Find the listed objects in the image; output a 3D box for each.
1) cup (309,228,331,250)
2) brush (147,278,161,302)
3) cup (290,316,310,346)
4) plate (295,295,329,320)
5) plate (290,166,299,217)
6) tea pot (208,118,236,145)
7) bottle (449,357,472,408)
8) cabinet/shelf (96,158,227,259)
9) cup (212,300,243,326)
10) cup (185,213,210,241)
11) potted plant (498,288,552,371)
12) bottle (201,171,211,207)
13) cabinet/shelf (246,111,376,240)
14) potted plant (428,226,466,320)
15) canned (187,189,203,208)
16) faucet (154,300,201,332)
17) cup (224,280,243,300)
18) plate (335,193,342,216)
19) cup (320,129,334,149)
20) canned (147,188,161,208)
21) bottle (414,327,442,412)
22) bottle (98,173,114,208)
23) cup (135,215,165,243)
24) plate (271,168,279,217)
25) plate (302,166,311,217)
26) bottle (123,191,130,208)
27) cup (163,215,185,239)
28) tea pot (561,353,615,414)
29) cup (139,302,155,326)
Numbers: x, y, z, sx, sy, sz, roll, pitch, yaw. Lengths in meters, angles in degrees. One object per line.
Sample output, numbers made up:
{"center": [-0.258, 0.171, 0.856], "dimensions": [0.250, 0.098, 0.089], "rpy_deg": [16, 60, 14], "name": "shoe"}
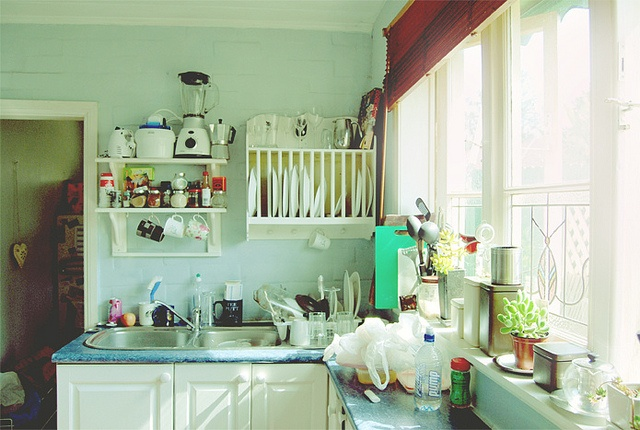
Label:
{"center": [-0.003, 0.176, 3.824], "dimensions": [0.135, 0.150, 0.121], "rpy_deg": [6, 2, -15], "name": "cup"}
{"center": [-1.125, 0.509, 3.694], "dimensions": [0.097, 0.150, 0.132], "rpy_deg": [-3, 2, -18], "name": "brush"}
{"center": [-0.125, 0.732, 3.332], "dimensions": [0.128, 0.140, 0.145], "rpy_deg": [0, -8, 3], "name": "cup"}
{"center": [-0.052, 0.588, 3.558], "dimensions": [0.180, 0.072, 0.129], "rpy_deg": [26, 15, 30], "name": "plate"}
{"center": [-0.166, -0.148, 3.592], "dimensions": [0.072, 0.302, 0.045], "rpy_deg": [1, -9, -7], "name": "plate"}
{"center": [-0.661, -0.556, 3.664], "dimensions": [0.198, 0.222, 0.134], "rpy_deg": [4, -6, -28], "name": "tea pot"}
{"center": [0.685, 0.809, 2.647], "dimensions": [0.104, 0.247, 0.129], "rpy_deg": [-2, 2, 14], "name": "bottle"}
{"center": [-1.109, -0.064, 3.676], "dimensions": [0.673, 0.558, 0.205], "rpy_deg": [0, -4, -5], "name": "cabinet/shelf"}
{"center": [-0.618, 0.663, 3.652], "dimensions": [0.212, 0.184, 0.134], "rpy_deg": [1, -3, -4], "name": "cup"}
{"center": [-0.827, 0.087, 3.649], "dimensions": [0.176, 0.205, 0.120], "rpy_deg": [6, -31, -7], "name": "cup"}
{"center": [0.935, 0.542, 2.458], "dimensions": [0.190, 0.273, 0.139], "rpy_deg": [2, 0, -20], "name": "potted plant"}
{"center": [-0.771, -0.170, 3.653], "dimensions": [0.075, 0.199, 0.061], "rpy_deg": [-3, 1, -6], "name": "bottle"}
{"center": [-0.081, -0.273, 3.678], "dimensions": [0.893, 0.899, 0.289], "rpy_deg": [0, -2, -5], "name": "cabinet/shelf"}
{"center": [0.676, 0.313, 2.828], "dimensions": [0.180, 0.484, 0.305], "rpy_deg": [-2, 2, 12], "name": "potted plant"}
{"center": [-0.846, -0.114, 3.721], "dimensions": [0.111, 0.120, 0.111], "rpy_deg": [0, -1, 0], "name": "canned"}
{"center": [-0.960, 0.672, 3.607], "dimensions": [0.307, 0.180, 0.165], "rpy_deg": [-1, 2, 36], "name": "faucet"}
{"center": [-0.585, 0.512, 3.723], "dimensions": [0.109, 0.127, 0.124], "rpy_deg": [-7, -14, 44], "name": "cup"}
{"center": [0.124, -0.066, 3.656], "dimensions": [0.051, 0.094, 0.081], "rpy_deg": [-3, 2, 0], "name": "plate"}
{"center": [0.051, -0.531, 3.723], "dimensions": [0.091, 0.165, 0.198], "rpy_deg": [-3, 2, 1], "name": "cup"}
{"center": [-1.116, -0.114, 3.628], "dimensions": [0.080, 0.113, 0.052], "rpy_deg": [-3, 2, -19], "name": "canned"}
{"center": [0.518, 0.743, 2.613], "dimensions": [0.133, 0.400, 0.049], "rpy_deg": [-2, 1, 9], "name": "bottle"}
{"center": [-1.444, -0.166, 3.624], "dimensions": [0.139, 0.213, 0.080], "rpy_deg": [-2, 2, 31], "name": "bottle"}
{"center": [-1.124, 0.078, 3.688], "dimensions": [0.201, 0.203, 0.135], "rpy_deg": [15, 8, 11], "name": "cup"}
{"center": [-0.292, -0.141, 3.556], "dimensions": [0.037, 0.263, 0.060], "rpy_deg": [0, 1, 37], "name": "plate"}
{"center": [-0.093, -0.148, 3.590], "dimensions": [0.064, 0.306, 0.046], "rpy_deg": [1, -6, -22], "name": "plate"}
{"center": [-1.303, -0.108, 3.624], "dimensions": [0.054, 0.105, 0.039], "rpy_deg": [-3, 1, 1], "name": "bottle"}
{"center": [-0.979, 0.087, 3.657], "dimensions": [0.126, 0.180, 0.117], "rpy_deg": [4, 7, -1], "name": "cup"}
{"center": [1.085, 0.678, 2.218], "dimensions": [0.217, 0.225, 0.220], "rpy_deg": [3, -13, 1], "name": "tea pot"}
{"center": [-1.168, 0.668, 3.642], "dimensions": [0.101, 0.150, 0.148], "rpy_deg": [2, 0, -33], "name": "cup"}
